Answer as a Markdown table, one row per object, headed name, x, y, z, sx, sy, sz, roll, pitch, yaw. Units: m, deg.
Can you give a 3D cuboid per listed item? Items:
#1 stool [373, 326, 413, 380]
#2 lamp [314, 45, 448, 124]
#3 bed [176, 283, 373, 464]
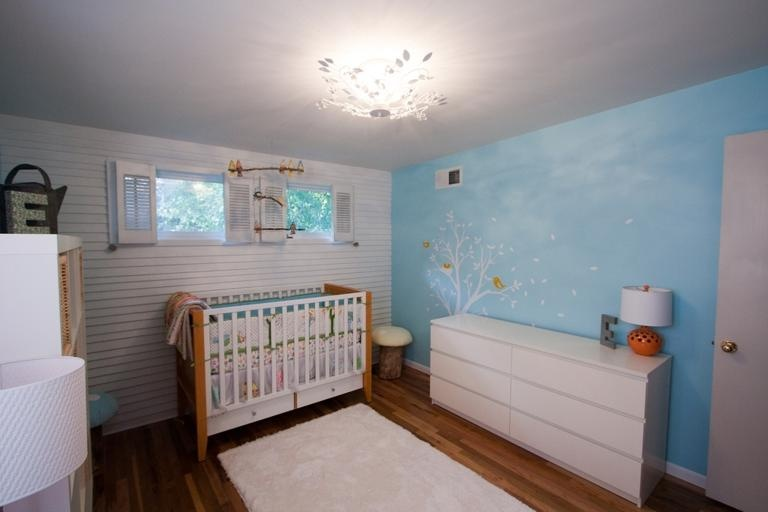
| name | x | y | z | sx | sy | sz | roll | pitch | yaw |
| --- | --- | --- | --- | --- | --- | --- | --- | --- | --- |
| stool | 0.089 | 1.135 | 5.825 | 0.547 | 0.585 | 0.547 | -2 | 5 | -37 |
| lamp | -0.017 | -1.293 | 3.647 | 0.943 | 0.439 | 0.623 | 6 | 11 | 4 |
| bed | -1.257 | 0.841 | 4.943 | 2.136 | 1.440 | 1.350 | -2 | 2 | -37 |
